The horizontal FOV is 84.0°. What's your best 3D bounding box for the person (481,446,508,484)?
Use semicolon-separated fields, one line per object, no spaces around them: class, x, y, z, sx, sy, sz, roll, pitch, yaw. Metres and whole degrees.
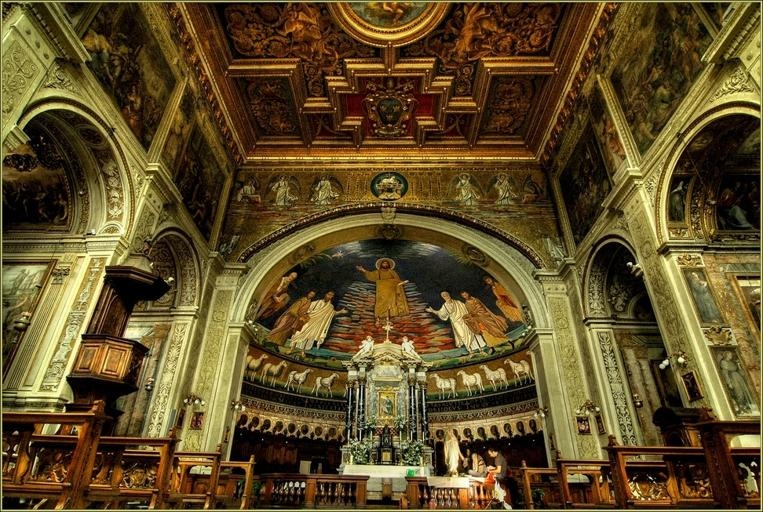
person;2.688;4.932;10.040;0.605;0.776;0.651;-6;-16;7

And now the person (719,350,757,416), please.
person;7.385;2.655;8.817;0.452;1.312;0.210;4;-31;-6

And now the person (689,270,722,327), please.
person;7.229;0.941;9.479;0.446;1.236;0.213;1;-31;1
